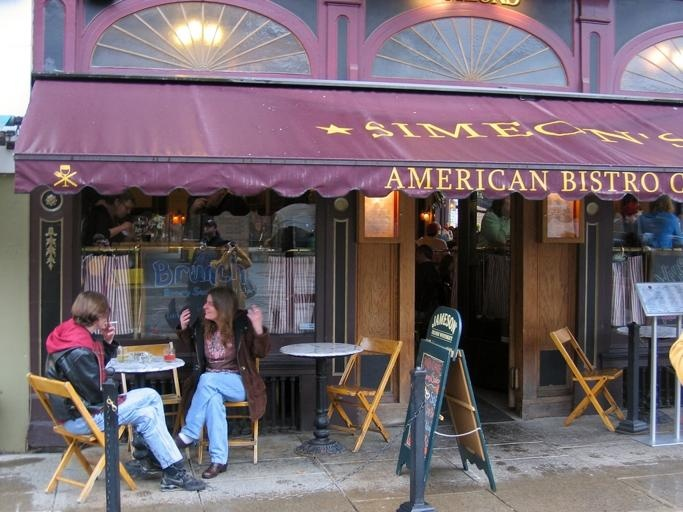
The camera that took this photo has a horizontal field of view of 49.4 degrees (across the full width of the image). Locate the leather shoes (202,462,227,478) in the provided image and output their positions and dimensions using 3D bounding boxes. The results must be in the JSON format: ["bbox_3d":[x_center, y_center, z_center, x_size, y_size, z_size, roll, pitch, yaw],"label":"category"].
[{"bbox_3d":[-1.326,2.269,7.827,0.098,0.132,0.305,-5,-11,31],"label":"leather shoes"}]

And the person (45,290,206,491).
[{"bbox_3d":[-2.245,1.366,7.403,1.257,2.050,0.727,-2,-2,-28],"label":"person"}]

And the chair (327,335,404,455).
[{"bbox_3d":[0.198,1.607,8.892,0.740,1.243,0.792,5,-3,-38],"label":"chair"}]

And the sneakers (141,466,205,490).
[{"bbox_3d":[-1.683,2.235,7.471,0.550,0.252,0.203,1,-1,-6],"label":"sneakers"}]

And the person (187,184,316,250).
[{"bbox_3d":[-1.165,-0.506,9.206,1.112,0.370,0.792,2,-8,-26],"label":"person"}]

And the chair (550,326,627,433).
[{"bbox_3d":[3.166,1.562,9.533,0.847,1.167,0.898,-3,3,-33],"label":"chair"}]

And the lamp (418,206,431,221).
[{"bbox_3d":[1.723,-0.851,15.286,0.173,0.284,0.280,-3,-10,21],"label":"lamp"}]

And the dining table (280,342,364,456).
[{"bbox_3d":[-0.239,1.635,8.603,0.993,1.158,1.020,1,-3,-10],"label":"dining table"}]

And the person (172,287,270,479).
[{"bbox_3d":[-1.385,1.323,8.128,1.088,1.904,1.351,3,5,17],"label":"person"}]

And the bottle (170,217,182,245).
[{"bbox_3d":[-2.022,-0.333,9.096,0.174,0.353,0.038,-2,-2,-17],"label":"bottle"}]

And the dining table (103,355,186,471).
[{"bbox_3d":[-2.027,1.617,7.842,0.735,0.956,0.849,-3,-3,5],"label":"dining table"}]
